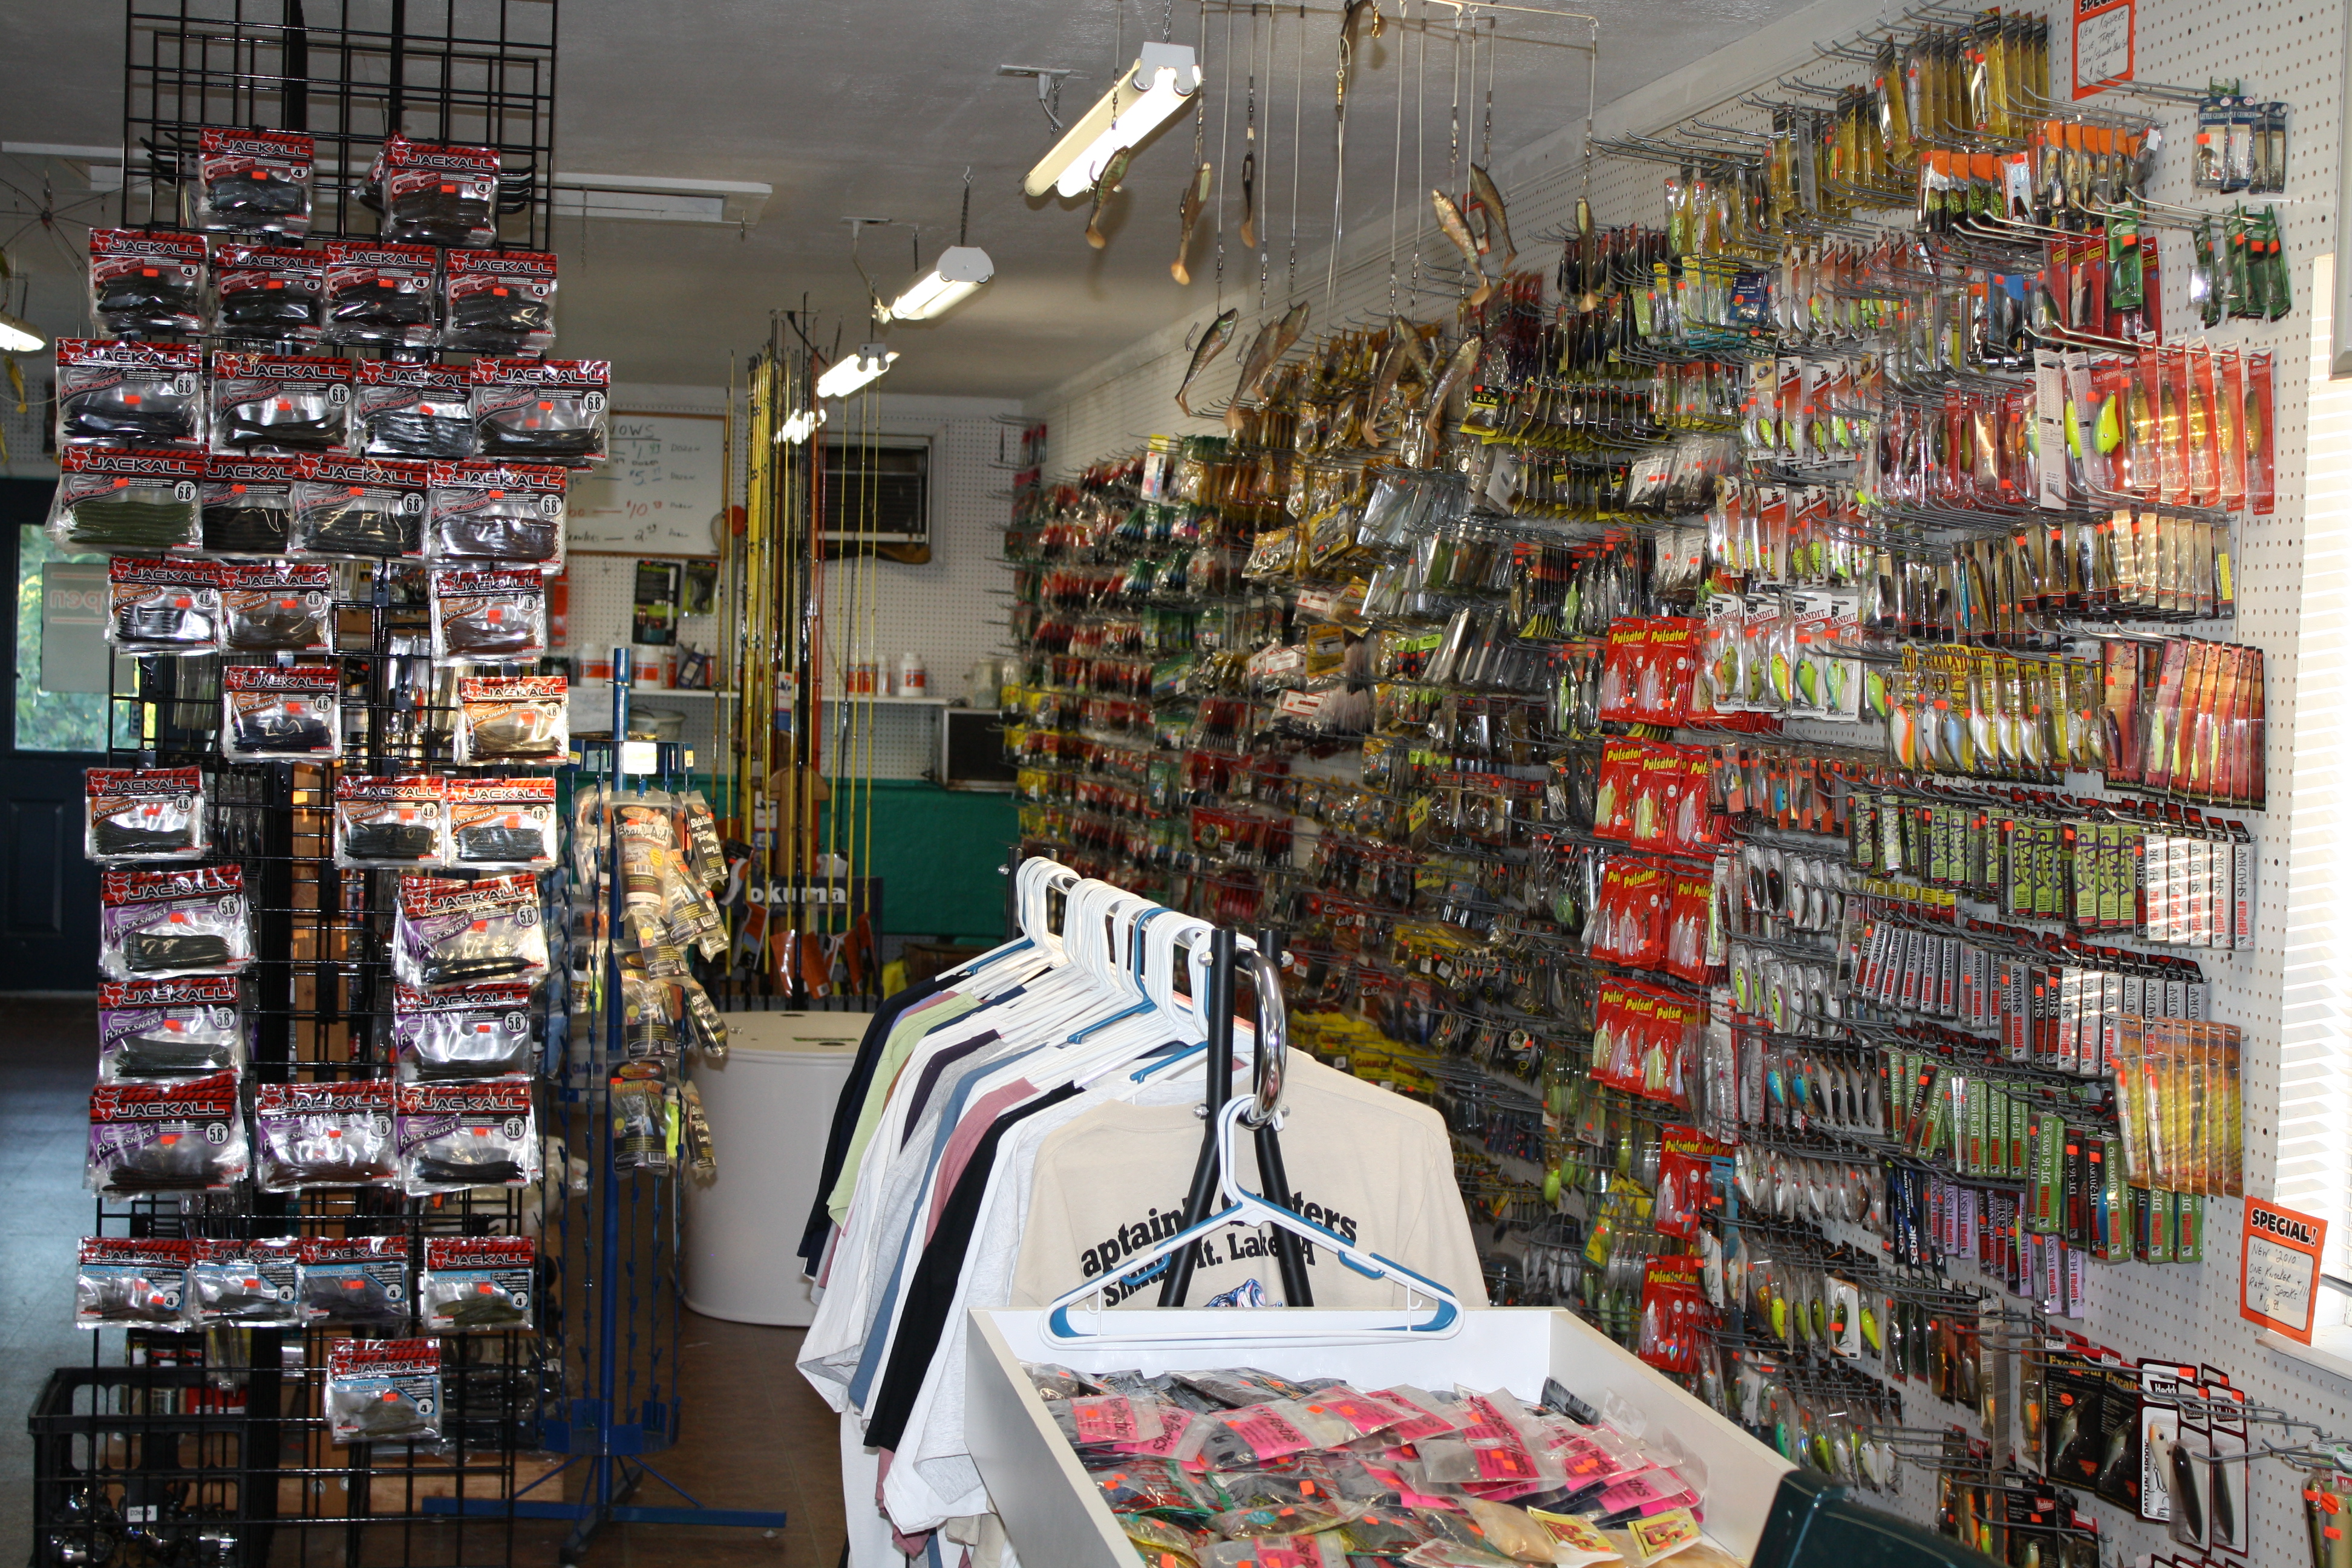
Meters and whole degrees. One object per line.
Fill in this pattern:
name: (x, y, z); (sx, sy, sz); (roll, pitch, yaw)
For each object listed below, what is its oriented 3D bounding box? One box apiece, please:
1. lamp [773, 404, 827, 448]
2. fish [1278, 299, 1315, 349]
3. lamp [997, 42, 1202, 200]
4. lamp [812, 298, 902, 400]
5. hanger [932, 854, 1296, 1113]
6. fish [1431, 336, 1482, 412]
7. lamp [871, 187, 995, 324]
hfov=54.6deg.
lamp: (-1.703, -1.611, 10.257); (0.187, 0.085, 0.333); (4, -4, -10)
fish: (0.369, -1.482, 7.283); (0.087, 0.166, 0.323); (-2, 2, 5)
lamp: (-0.159, -1.649, 5.626); (0.271, 0.087, 0.559); (12, -31, -32)
lamp: (-1.360, -1.846, 9.493); (0.173, 0.189, 0.551); (16, 38, 15)
hanger: (-0.132, 0.350, 4.691); (0.231, 0.364, 1.045); (0, 10, -29)
fish: (0.811, -1.206, 6.642); (0.037, 0.165, 0.249); (-3, 2, -23)
lamp: (-0.911, -1.771, 7.965); (0.510, 0.272, 0.755); (1, 25, 1)
